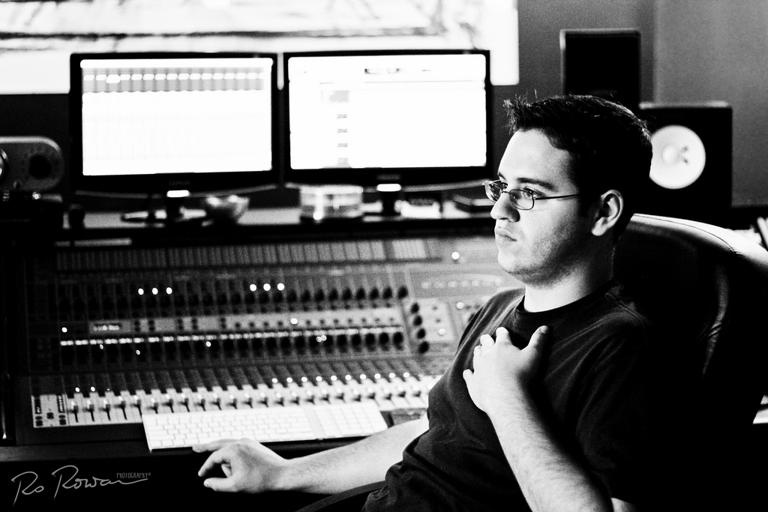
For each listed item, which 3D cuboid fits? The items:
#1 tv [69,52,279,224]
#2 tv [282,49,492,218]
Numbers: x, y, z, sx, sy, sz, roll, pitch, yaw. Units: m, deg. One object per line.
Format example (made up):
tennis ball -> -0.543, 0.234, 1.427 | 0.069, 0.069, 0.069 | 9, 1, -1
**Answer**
tv -> -0.733, -0.437, 2.661 | 0.648, 0.476, 0.169 | 0, 0, -6
tv -> 0.013, -0.463, 2.742 | 0.704, 0.534, 0.160 | -1, 1, -3
